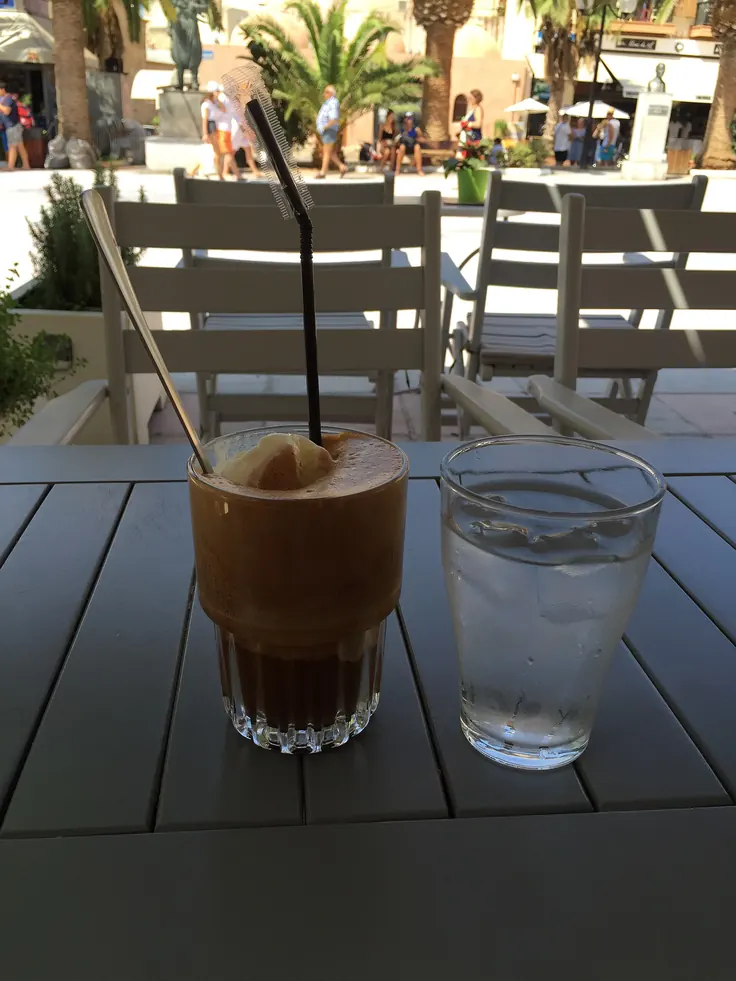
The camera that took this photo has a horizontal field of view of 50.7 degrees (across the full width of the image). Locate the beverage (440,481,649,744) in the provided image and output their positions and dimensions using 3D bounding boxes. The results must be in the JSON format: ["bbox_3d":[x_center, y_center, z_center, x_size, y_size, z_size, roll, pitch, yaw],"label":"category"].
[{"bbox_3d":[0.079,0.067,0.393,0.098,0.153,0.054,14,35,20],"label":"beverage"}]
